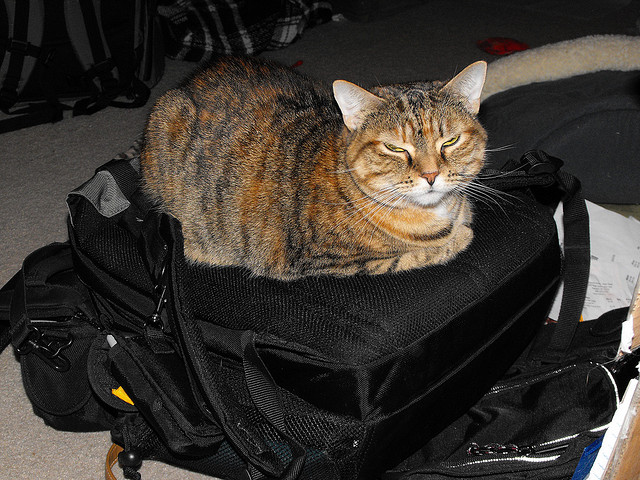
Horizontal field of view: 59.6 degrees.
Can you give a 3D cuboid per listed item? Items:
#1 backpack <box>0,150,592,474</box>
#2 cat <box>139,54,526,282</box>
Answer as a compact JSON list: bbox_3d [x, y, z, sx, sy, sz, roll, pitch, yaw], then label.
[{"bbox_3d":[-0.013,0.149,1.049,0.771,0.286,0.794,17,37,28],"label":"backpack"},{"bbox_3d":[-0.007,-0.150,1.147,0.638,0.325,0.462,16,44,21],"label":"cat"}]
